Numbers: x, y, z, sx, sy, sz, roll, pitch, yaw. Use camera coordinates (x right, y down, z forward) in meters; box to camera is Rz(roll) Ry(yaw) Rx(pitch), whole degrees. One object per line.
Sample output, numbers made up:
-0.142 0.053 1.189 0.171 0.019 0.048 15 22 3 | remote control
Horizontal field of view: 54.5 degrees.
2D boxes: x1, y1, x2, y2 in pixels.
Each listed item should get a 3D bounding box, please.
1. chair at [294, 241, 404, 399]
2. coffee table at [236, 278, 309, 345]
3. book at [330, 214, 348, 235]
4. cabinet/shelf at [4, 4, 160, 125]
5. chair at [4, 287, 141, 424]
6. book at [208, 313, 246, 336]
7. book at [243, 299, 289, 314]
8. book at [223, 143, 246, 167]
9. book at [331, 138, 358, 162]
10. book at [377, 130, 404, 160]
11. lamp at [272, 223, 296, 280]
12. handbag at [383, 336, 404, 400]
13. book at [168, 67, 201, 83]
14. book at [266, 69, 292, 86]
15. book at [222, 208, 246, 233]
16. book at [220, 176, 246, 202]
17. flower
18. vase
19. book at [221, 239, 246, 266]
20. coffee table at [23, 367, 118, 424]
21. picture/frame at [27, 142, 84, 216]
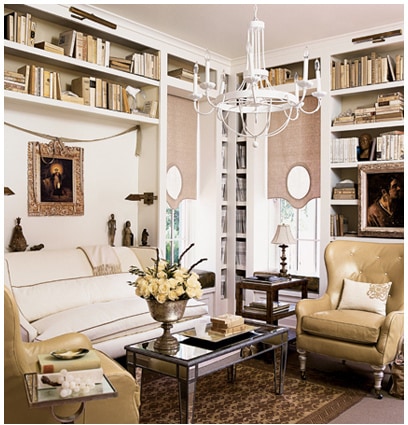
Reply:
1.365 0.826 3.636 0.966 1.397 1.137 -2 -3 38 | chair
0.705 0.915 4.211 0.497 0.687 0.700 -1 -1 39 | coffee table
1.555 0.148 4.604 0.190 0.339 0.349 0 -1 30 | book
-1.188 -1.433 3.951 0.476 0.848 1.684 -2 -4 32 | cabinet/shelf
-0.689 0.710 2.226 0.728 0.948 0.653 1 1 -24 | chair
0.154 0.788 2.815 0.116 0.078 0.159 -1 -2 40 | book
0.634 0.938 3.985 0.457 0.099 0.258 0 -3 6 | book
0.462 -0.763 5.346 0.334 0.322 0.080 2 2 27 | book
1.622 -0.717 4.535 0.281 0.280 0.156 1 4 44 | book
2.000 -0.662 4.275 0.261 0.368 0.362 0 1 31 | book
0.931 0.419 4.652 0.249 0.593 0.890 0 -3 11 | lamp
1.475 1.188 3.029 0.104 0.368 0.265 -2 -4 27 | handbag
-0.289 -1.666 4.865 0.255 0.093 0.271 8 9 44 | book
0.943 -1.716 5.095 0.253 0.320 0.236 -2 10 -15 | book
0.453 0.102 5.356 0.341 0.342 0.084 2 2 18 | book
0.461 -0.338 5.346 0.357 0.342 0.085 3 6 20 | book
-0.195 0.403 2.588 0.407 0.250 0.422 6 13 24 | flower
-0.237 0.702 2.549 0.269 0.318 0.273 1 0 -9 | vase
0.408 0.543 5.420 0.362 0.370 0.205 1 2 35 | book
-0.584 0.702 1.686 0.324 0.133 0.389 2 -4 -28 | coffee table
-1.493 -0.333 3.893 0.055 0.964 0.747 3 2 37 | picture/frame
